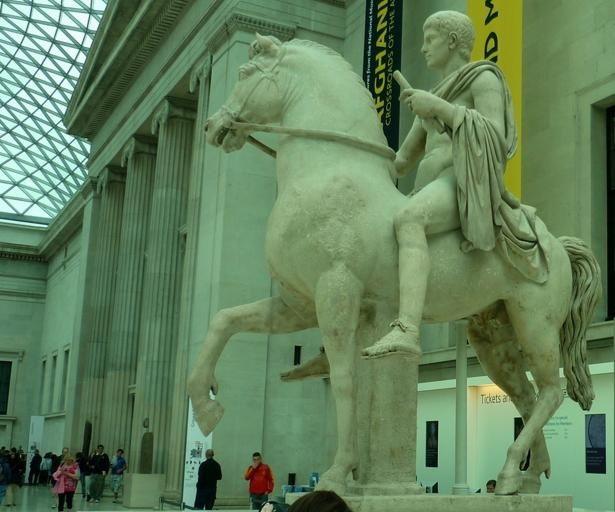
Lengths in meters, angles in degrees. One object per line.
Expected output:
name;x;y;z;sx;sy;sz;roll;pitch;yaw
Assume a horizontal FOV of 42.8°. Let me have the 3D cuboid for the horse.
horse;0.759;0.101;6.264;3.088;3.908;1.285;3;-20;-3
